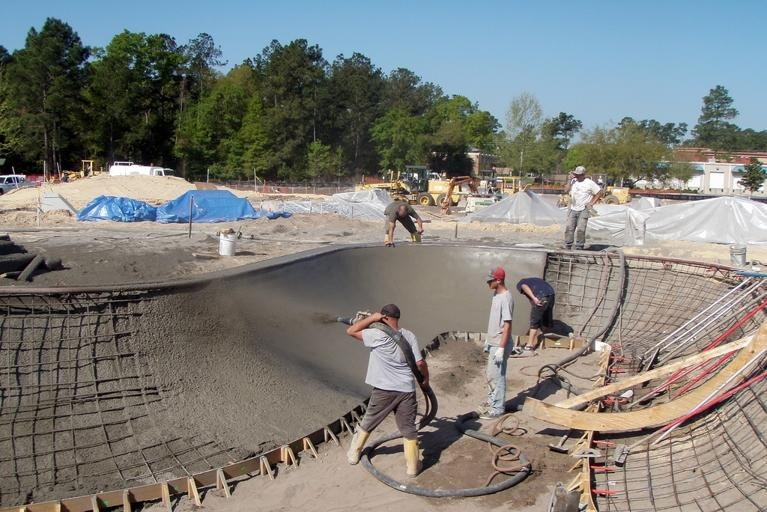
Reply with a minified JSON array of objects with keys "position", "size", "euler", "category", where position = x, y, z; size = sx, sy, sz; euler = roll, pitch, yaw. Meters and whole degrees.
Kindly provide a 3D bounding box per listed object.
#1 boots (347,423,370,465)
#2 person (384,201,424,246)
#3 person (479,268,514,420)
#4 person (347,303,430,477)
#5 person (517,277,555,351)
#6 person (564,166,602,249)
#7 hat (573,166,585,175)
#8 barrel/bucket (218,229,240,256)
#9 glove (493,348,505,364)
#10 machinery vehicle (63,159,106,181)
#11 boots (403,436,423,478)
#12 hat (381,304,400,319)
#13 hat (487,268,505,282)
[{"position":[-0.375,2.863,9.102],"size":[0.248,0.685,0.478],"euler":[17,-9,0],"category":"boots"},{"position":[0.488,-0.917,14.814],"size":[0.862,1.282,1.114],"euler":[-11,-30,-3],"category":"person"},{"position":[1.863,1.406,9.746],"size":[0.435,2.436,0.589],"euler":[3,14,12],"category":"person"},{"position":[0.047,1.955,8.667],"size":[1.038,2.533,0.534],"euler":[6,15,23],"category":"person"},{"position":[3.067,1.211,12.152],"size":[0.656,1.625,1.001],"euler":[6,14,22],"category":"person"},{"position":[4.797,-1.112,14.558],"size":[0.587,2.082,0.970],"euler":[0,14,0],"category":"person"},{"position":[4.646,-2.019,14.217],"size":[0.355,0.173,0.262],"euler":[-4,8,-43],"category":"hat"},{"position":[-3.635,-0.303,14.311],"size":[0.618,0.595,0.585],"euler":[2,1,0],"category":"barrel/bucket"},{"position":[1.816,1.583,9.506],"size":[0.187,0.216,0.061],"euler":[17,-2,19],"category":"glove"},{"position":[-23.743,-7.015,47.783],"size":[2.737,1.157,12.415],"euler":[-6,13,-25],"category":"machinery vehicle"},{"position":[0.410,2.924,8.833],"size":[0.314,0.546,0.602],"euler":[-4,-5,6],"category":"boots"},{"position":[0.082,0.768,8.532],"size":[0.260,0.140,0.190],"euler":[17,10,36],"category":"hat"},{"position":[1.816,0.306,9.743],"size":[0.279,0.284,0.276],"euler":[0,13,1],"category":"hat"}]
